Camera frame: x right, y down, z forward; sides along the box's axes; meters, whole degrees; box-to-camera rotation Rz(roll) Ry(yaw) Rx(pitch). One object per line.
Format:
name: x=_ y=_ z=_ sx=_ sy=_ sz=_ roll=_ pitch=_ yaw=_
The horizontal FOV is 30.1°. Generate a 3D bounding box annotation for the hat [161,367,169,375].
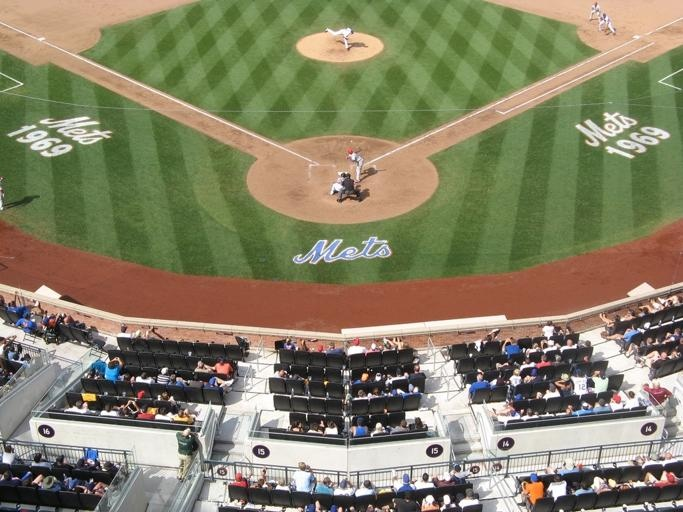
hat: x=-7.551 y=4.860 z=54.002 sx=0.269 sy=0.308 sz=0.271 roll=13 pitch=-64 yaw=27

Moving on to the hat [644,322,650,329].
hat: x=13.453 y=3.017 z=55.658 sx=0.151 sy=0.361 sz=0.153 roll=21 pitch=-23 yaw=23

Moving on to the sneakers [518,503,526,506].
sneakers: x=7.199 y=9.771 z=50.416 sx=0.263 sy=0.120 sz=0.052 roll=-7 pitch=-19 yaw=12

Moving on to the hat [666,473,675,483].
hat: x=13.026 y=8.572 z=49.912 sx=0.315 sy=0.503 sz=0.226 roll=0 pitch=-50 yaw=10

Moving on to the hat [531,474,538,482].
hat: x=7.645 y=8.685 z=50.081 sx=0.344 sy=0.363 sz=0.285 roll=-2 pitch=-48 yaw=11

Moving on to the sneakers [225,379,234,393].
sneakers: x=-4.782 y=5.489 z=54.037 sx=0.302 sy=0.210 sz=0.562 roll=3 pitch=-59 yaw=-42

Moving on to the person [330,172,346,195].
person: x=-0.147 y=-3.570 z=64.249 sx=0.893 sy=0.495 sz=1.258 roll=30 pitch=-35 yaw=13

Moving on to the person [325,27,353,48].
person: x=0.103 y=-13.370 z=77.959 sx=1.494 sy=1.991 sz=0.669 roll=-29 pitch=-60 yaw=-23

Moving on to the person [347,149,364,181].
person: x=0.747 y=-4.559 z=65.455 sx=0.969 sy=0.811 sz=1.814 roll=-14 pitch=-22 yaw=8

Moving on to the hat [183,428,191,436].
hat: x=-6.206 y=7.021 z=50.985 sx=0.286 sy=0.273 sz=0.323 roll=0 pitch=-10 yaw=-6
